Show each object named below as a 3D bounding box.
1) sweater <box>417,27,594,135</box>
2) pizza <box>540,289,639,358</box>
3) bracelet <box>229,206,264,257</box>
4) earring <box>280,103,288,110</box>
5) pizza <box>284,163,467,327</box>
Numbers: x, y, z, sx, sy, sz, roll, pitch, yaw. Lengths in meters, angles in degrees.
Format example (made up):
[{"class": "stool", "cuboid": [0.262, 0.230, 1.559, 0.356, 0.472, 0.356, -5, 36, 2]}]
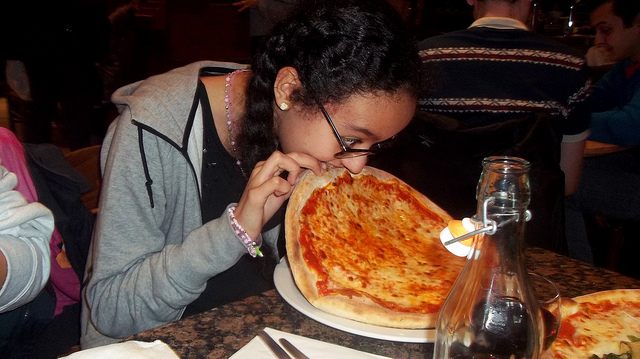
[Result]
[{"class": "sweater", "cuboid": [1.259, -0.678, 3.327, 1.474, 0.787, 0.639, 2, 8, 1]}, {"class": "pizza", "cuboid": [1.123, 0.595, 1.807, 0.527, 0.087, 0.263, -4, 36, -3]}, {"class": "bracelet", "cuboid": [-0.296, 0.255, 2.117, 0.072, 0.236, 0.173, -42, 40, -5]}, {"class": "earring", "cuboid": [-0.182, -0.369, 2.219, 0.039, 0.030, 0.008, 4, 13, 8]}, {"class": "pizza", "cuboid": [0.294, 0.320, 2.125, 1.026, 0.158, 0.830, 26, 45, -3]}]
